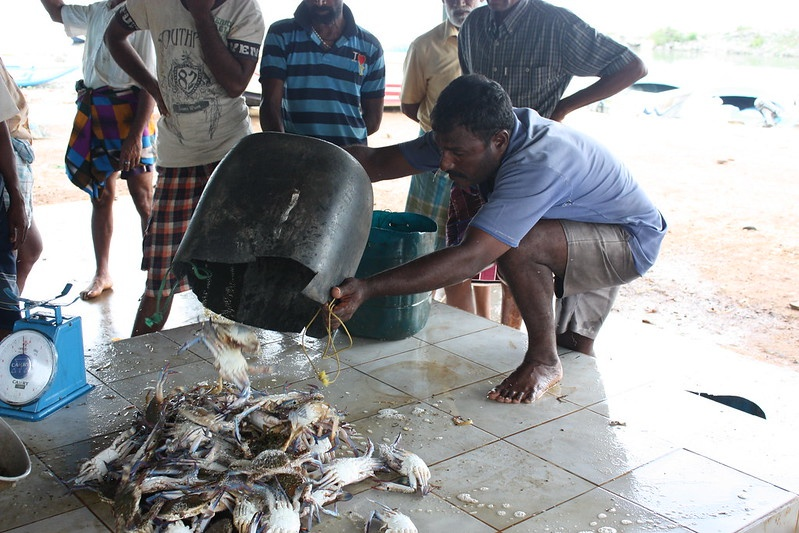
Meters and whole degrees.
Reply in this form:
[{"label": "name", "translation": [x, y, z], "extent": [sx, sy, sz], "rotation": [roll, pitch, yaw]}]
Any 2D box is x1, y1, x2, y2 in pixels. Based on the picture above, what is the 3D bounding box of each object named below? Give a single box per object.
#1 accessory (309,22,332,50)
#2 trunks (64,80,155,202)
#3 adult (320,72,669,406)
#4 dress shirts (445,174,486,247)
[{"label": "accessory", "translation": [-0.416, -1.240, 3.521], "extent": [0.113, 0.106, 0.108], "rotation": [22, 7, -28]}, {"label": "trunks", "translation": [-1.939, -0.890, 4.525], "extent": [0.627, 0.765, 0.347], "rotation": [3, 20, 1]}, {"label": "adult", "translation": [0.414, -0.149, 3.111], "extent": [1.749, 1.386, 0.909], "rotation": [-7, 18, -24]}, {"label": "dress shirts", "translation": [0.338, -0.276, 3.277], "extent": [0.153, 0.158, 0.457], "rotation": [-10, -17, -28]}]
